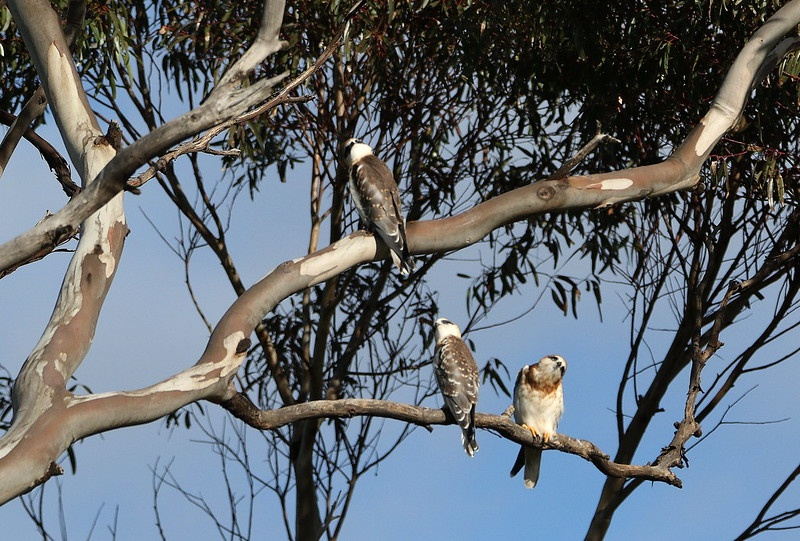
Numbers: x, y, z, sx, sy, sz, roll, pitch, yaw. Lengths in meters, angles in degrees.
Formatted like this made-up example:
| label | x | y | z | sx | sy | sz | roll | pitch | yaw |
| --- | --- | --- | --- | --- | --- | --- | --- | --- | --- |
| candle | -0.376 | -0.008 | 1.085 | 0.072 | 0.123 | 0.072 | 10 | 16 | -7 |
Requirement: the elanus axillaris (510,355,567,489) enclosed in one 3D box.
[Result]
| label | x | y | z | sx | sy | sz | roll | pitch | yaw |
| --- | --- | --- | --- | --- | --- | --- | --- | --- | --- |
| elanus axillaris | 0.810 | 0.858 | 9.018 | 0.214 | 0.539 | 0.528 | 16 | -41 | -4 |
